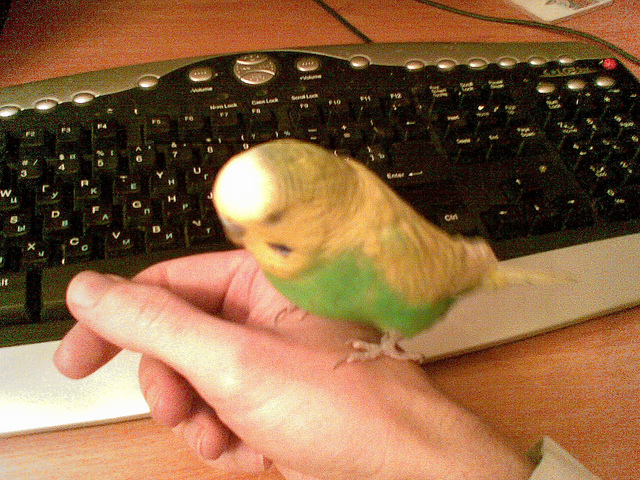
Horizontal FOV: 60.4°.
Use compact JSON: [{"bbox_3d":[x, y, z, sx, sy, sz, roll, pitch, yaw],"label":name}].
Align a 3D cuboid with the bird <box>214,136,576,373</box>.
[{"bbox_3d":[0.073,0.011,0.458,0.336,0.169,0.105,-6,29,-24],"label":"bird"}]
